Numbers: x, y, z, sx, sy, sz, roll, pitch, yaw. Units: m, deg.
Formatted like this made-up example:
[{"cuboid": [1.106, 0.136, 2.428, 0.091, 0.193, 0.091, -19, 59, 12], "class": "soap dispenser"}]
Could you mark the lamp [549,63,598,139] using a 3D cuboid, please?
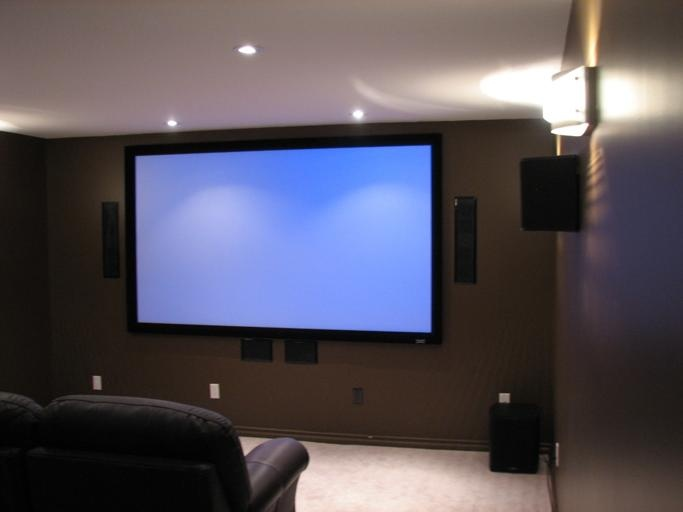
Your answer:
[{"cuboid": [0.933, -0.630, 2.400, 0.135, 0.324, 0.581, -2, -2, 14], "class": "lamp"}]

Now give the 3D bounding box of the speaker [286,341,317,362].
[{"cuboid": [-0.357, 0.835, 5.119, 0.311, 0.229, 0.175, -1, -4, 19], "class": "speaker"}]

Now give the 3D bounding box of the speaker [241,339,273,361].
[{"cuboid": [-0.755, 0.834, 5.208, 0.213, 0.149, 0.223, 2, 0, 10], "class": "speaker"}]
